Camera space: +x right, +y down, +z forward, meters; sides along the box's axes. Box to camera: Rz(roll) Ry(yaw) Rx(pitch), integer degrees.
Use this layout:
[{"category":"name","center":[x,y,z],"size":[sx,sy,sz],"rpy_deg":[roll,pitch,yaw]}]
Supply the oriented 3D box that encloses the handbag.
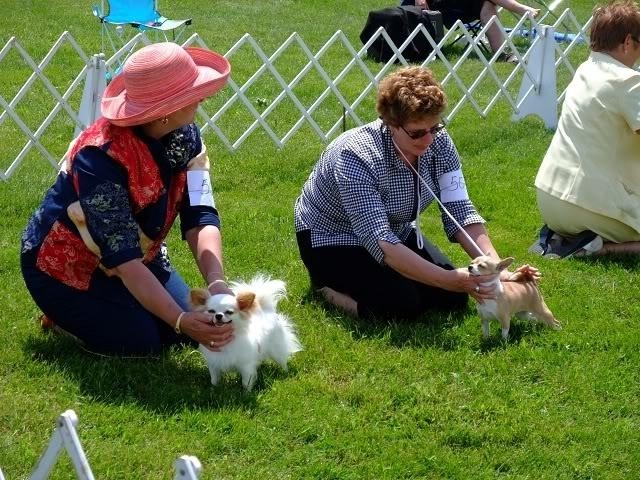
[{"category":"handbag","center":[0.991,-2.678,13.349],"size":[0.800,0.597,0.814],"rpy_deg":[0,-3,-9]}]

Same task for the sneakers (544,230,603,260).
[{"category":"sneakers","center":[2.152,0.045,8.629],"size":[0.327,0.141,0.282],"rpy_deg":[-16,41,-9]}]

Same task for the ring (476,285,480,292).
[{"category":"ring","center":[1.117,0.347,7.163],"size":[0.031,0.046,0.008],"rpy_deg":[26,26,32]}]

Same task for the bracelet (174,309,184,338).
[{"category":"bracelet","center":[-0.944,0.566,6.804],"size":[0.054,0.126,0.111],"rpy_deg":[8,6,12]}]

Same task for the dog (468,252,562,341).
[{"category":"dog","center":[1.410,0.420,7.432],"size":[0.887,0.636,0.298],"rpy_deg":[-4,8,-40]}]

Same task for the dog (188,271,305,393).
[{"category":"dog","center":[-0.516,0.675,7.130],"size":[0.398,0.869,1.175],"rpy_deg":[3,11,18]}]

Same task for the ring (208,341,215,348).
[{"category":"ring","center":[-0.723,0.701,6.762],"size":[0.030,0.032,0.008],"rpy_deg":[1,7,16]}]

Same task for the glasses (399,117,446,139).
[{"category":"glasses","center":[0.750,-0.790,7.187],"size":[0.381,0.147,0.161],"rpy_deg":[0,25,-27]}]
